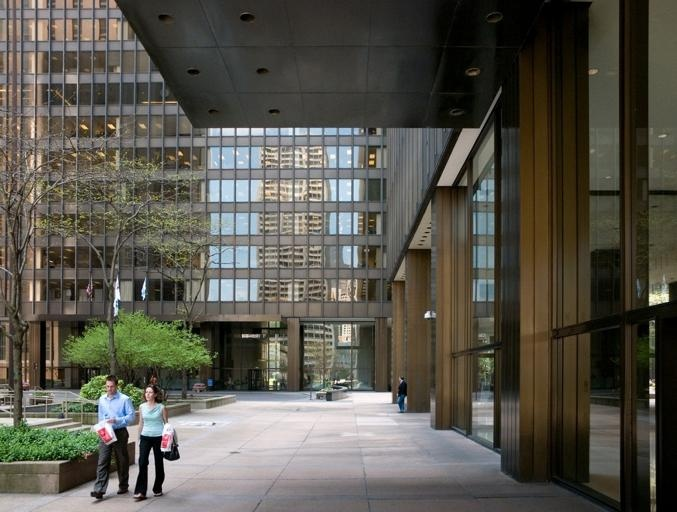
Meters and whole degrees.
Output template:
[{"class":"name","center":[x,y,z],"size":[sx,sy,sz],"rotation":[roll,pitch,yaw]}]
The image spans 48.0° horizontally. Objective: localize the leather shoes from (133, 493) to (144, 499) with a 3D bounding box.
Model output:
[{"class":"leather shoes","center":[-3.695,4.516,14.317],"size":[0.090,0.076,0.179],"rotation":[1,-23,-3]}]

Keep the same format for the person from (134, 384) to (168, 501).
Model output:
[{"class":"person","center":[-3.627,3.592,14.900],"size":[0.580,2.170,1.146],"rotation":[1,-11,-15]}]

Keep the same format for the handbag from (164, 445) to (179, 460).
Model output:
[{"class":"handbag","center":[-3.206,3.818,14.751],"size":[0.287,0.274,0.658],"rotation":[1,-12,-14]}]

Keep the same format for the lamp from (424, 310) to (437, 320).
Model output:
[{"class":"lamp","center":[3.302,2.109,27.301],"size":[0.502,0.291,0.728],"rotation":[0,-5,0]}]

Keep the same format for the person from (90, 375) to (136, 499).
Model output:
[{"class":"person","center":[-4.384,3.527,15.025],"size":[0.743,2.320,1.195],"rotation":[1,-11,-15]}]
